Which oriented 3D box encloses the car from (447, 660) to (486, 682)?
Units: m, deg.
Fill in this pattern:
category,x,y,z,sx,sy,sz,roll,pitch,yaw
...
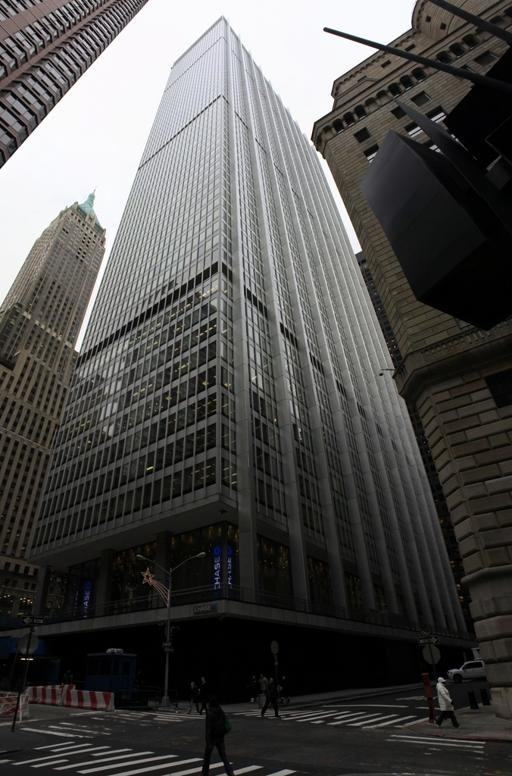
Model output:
category,x,y,z,sx,sy,sz,roll,pitch,yaw
car,15.881,21.511,36.684,2.572,1.316,1.341,-25,-34,25
